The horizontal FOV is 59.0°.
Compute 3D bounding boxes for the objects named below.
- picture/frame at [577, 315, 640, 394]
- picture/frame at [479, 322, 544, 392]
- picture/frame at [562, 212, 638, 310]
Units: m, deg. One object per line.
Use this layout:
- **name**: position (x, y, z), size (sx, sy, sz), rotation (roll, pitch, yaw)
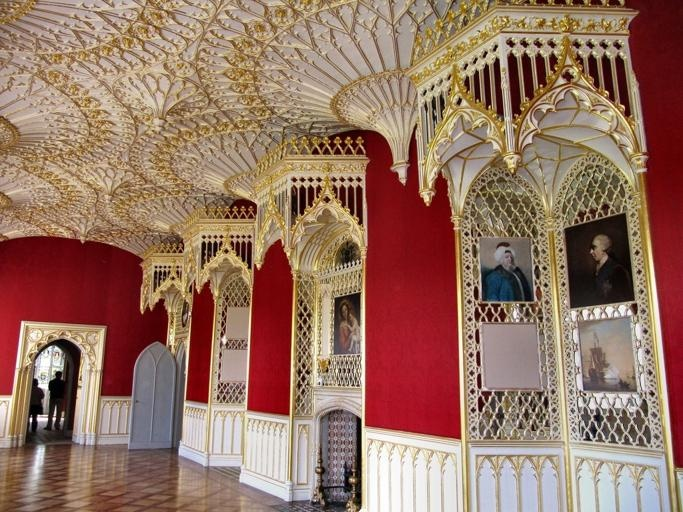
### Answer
- **picture/frame**: position (3.243, 1.205, 7.276), size (0.048, 1.114, 0.777), rotation (10, -18, -32)
- **picture/frame**: position (2.177, 1.331, 7.724), size (0.816, 0.997, 0.095), rotation (0, -14, 1)
- **picture/frame**: position (3.215, 0.082, 7.423), size (0.046, 1.397, 0.970), rotation (13, -18, -35)
